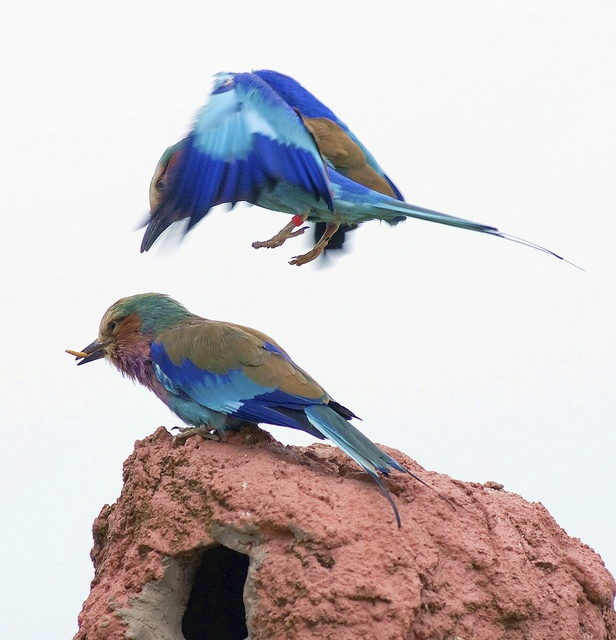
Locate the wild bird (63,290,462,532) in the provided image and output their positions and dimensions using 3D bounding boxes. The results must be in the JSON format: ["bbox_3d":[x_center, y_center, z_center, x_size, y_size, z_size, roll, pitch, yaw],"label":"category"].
[{"bbox_3d":[-0.322,0.268,6.828,2.338,0.729,1.087,11,-74,28],"label":"wild bird"}]

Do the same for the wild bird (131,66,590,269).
[{"bbox_3d":[0.079,-0.674,6.161,1.442,1.158,0.642,-11,-91,20],"label":"wild bird"}]
